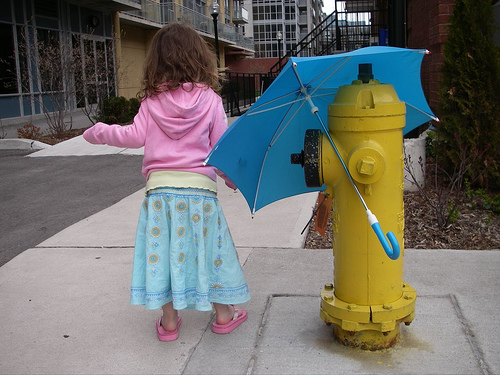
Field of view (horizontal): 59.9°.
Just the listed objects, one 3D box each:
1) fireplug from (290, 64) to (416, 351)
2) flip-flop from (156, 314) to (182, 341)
[{"bbox_3d":[0.709,0.141,2.810,0.730,1.818,0.384,1,12,16],"label":"fireplug"},{"bbox_3d":[-0.605,1.021,3.154,0.189,0.090,0.154,0,14,11],"label":"flip-flop"}]
